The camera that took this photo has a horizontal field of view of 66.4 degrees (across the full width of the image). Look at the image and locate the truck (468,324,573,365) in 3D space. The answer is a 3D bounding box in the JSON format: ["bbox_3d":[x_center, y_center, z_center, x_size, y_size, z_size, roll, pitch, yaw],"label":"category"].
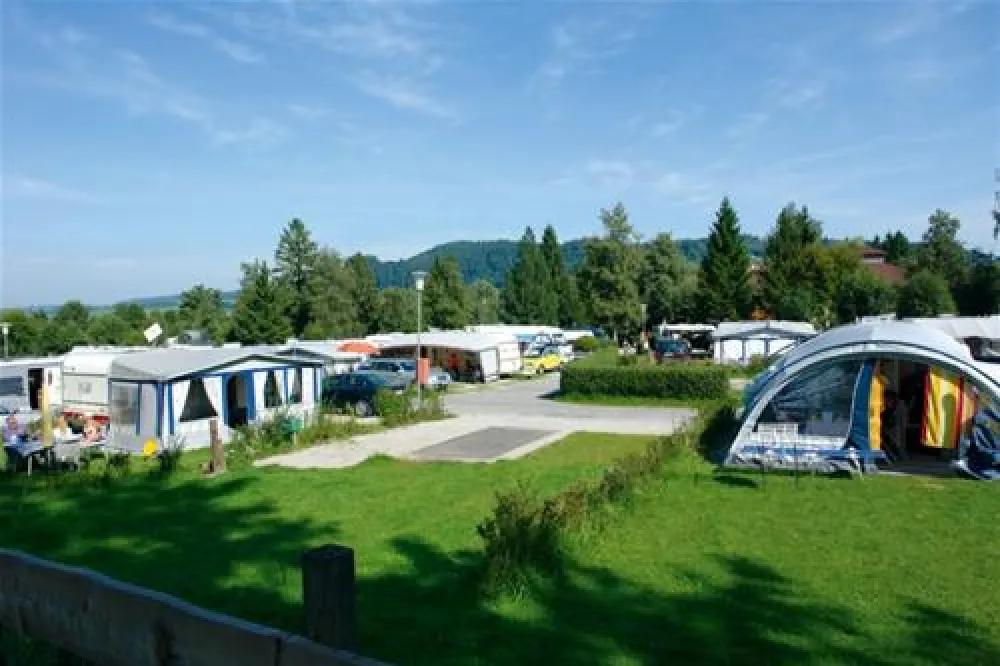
[{"bbox_3d":[1.531,0.735,47.108,7.113,2.607,2.400,-2,6,-3],"label":"truck"}]

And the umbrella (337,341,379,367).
[{"bbox_3d":[-6.257,1.006,34.388,1.276,1.218,1.289,1,0,1],"label":"umbrella"}]

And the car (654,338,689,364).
[{"bbox_3d":[9.938,0.956,44.505,1.527,1.278,2.213,-1,-4,19],"label":"car"}]

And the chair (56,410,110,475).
[{"bbox_3d":[-11.128,2.820,20.013,2.338,1.260,1.387,0,2,42],"label":"chair"}]

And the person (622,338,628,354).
[{"bbox_3d":[10.298,0.991,62.802,0.232,0.978,0.517,-8,-16,11],"label":"person"}]

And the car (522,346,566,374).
[{"bbox_3d":[2.425,1.443,42.732,1.271,1.089,2.142,-3,-5,35],"label":"car"}]
